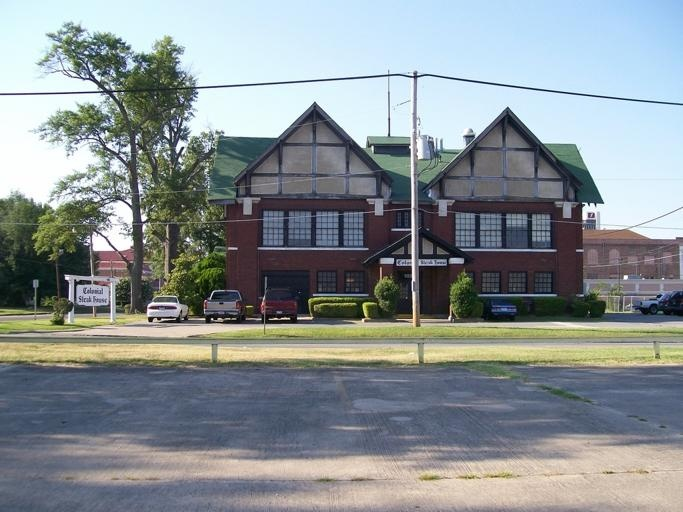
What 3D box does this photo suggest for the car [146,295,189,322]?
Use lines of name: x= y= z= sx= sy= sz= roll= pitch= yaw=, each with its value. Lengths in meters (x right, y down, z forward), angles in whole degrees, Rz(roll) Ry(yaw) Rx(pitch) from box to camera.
car: x=-9.078 y=2.749 z=51.226 sx=1.984 sy=1.466 sz=3.295 roll=1 pitch=-5 yaw=-9

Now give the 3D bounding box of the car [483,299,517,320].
car: x=8.038 y=2.801 z=51.293 sx=1.224 sy=1.202 sz=2.494 roll=3 pitch=-5 yaw=-30

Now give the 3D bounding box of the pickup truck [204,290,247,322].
pickup truck: x=-5.855 y=2.534 z=49.126 sx=1.694 sy=1.650 sz=2.689 roll=0 pitch=-5 yaw=1

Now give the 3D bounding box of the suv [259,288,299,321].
suv: x=-3.080 y=2.422 z=47.634 sx=1.674 sy=1.312 sz=3.193 roll=0 pitch=-5 yaw=0
